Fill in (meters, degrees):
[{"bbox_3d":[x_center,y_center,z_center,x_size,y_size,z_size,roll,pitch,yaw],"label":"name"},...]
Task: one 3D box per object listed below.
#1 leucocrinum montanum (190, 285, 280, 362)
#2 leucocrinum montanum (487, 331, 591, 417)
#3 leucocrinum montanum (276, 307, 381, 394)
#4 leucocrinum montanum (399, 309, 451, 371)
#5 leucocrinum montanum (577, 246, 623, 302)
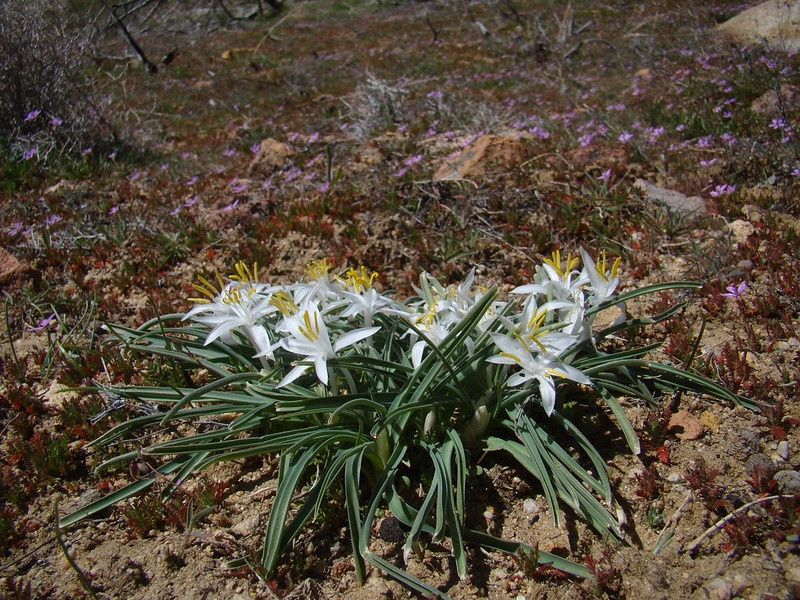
[{"bbox_3d":[-1.035,0.085,4.385,0.433,0.317,0.555,-20,56,-9],"label":"leucocrinum montanum"},{"bbox_3d":[0.720,0.332,4.100,0.591,0.180,0.375,-35,45,25],"label":"leucocrinum montanum"},{"bbox_3d":[-0.463,0.237,4.110,0.583,0.316,0.610,-30,20,-14],"label":"leucocrinum montanum"},{"bbox_3d":[0.211,0.182,4.379,0.323,0.178,0.328,-23,8,12],"label":"leucocrinum montanum"},{"bbox_3d":[1.290,-0.166,4.456,0.304,0.332,0.198,-7,73,50],"label":"leucocrinum montanum"}]
